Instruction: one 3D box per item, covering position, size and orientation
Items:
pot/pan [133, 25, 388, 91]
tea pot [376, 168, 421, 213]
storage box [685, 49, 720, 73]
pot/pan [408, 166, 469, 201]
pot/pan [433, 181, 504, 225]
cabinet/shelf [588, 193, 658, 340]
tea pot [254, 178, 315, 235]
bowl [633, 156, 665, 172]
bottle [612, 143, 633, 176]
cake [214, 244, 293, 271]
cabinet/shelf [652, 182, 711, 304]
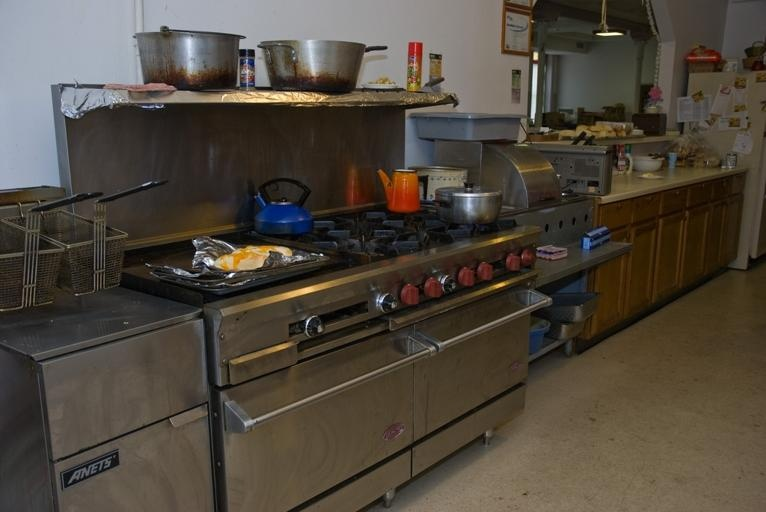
[{"bbox_3d":[-0.504,-0.755,2.289,0.828,0.183,0.376,-5,11,-35],"label":"pot/pan"},{"bbox_3d":[0.084,-0.331,2.894,0.241,0.200,0.152,3,16,5],"label":"tea pot"},{"bbox_3d":[3.231,-1.977,5.874,0.251,0.137,0.324,9,19,32],"label":"storage box"},{"bbox_3d":[0.325,-0.441,3.268,0.248,0.144,0.245,4,13,19],"label":"pot/pan"},{"bbox_3d":[0.409,-0.262,2.780,0.414,0.171,0.306,-12,18,-37],"label":"pot/pan"},{"bbox_3d":[1.621,0.048,3.971,0.360,0.756,0.932,9,19,37],"label":"cabinet/shelf"},{"bbox_3d":[-0.431,-0.236,2.551,0.266,0.216,0.248,0,21,0],"label":"tea pot"},{"bbox_3d":[2.406,-0.845,5.311,0.238,0.134,0.215,4,15,18],"label":"bowl"},{"bbox_3d":[2.115,-0.868,5.146,0.158,0.250,0.405,5,16,21],"label":"bottle"},{"bbox_3d":[-0.479,-0.003,2.108,0.215,0.040,0.335,7,16,29],"label":"cake"},{"bbox_3d":[2.365,-0.130,4.656,0.518,0.717,0.931,3,16,42],"label":"cabinet/shelf"}]
